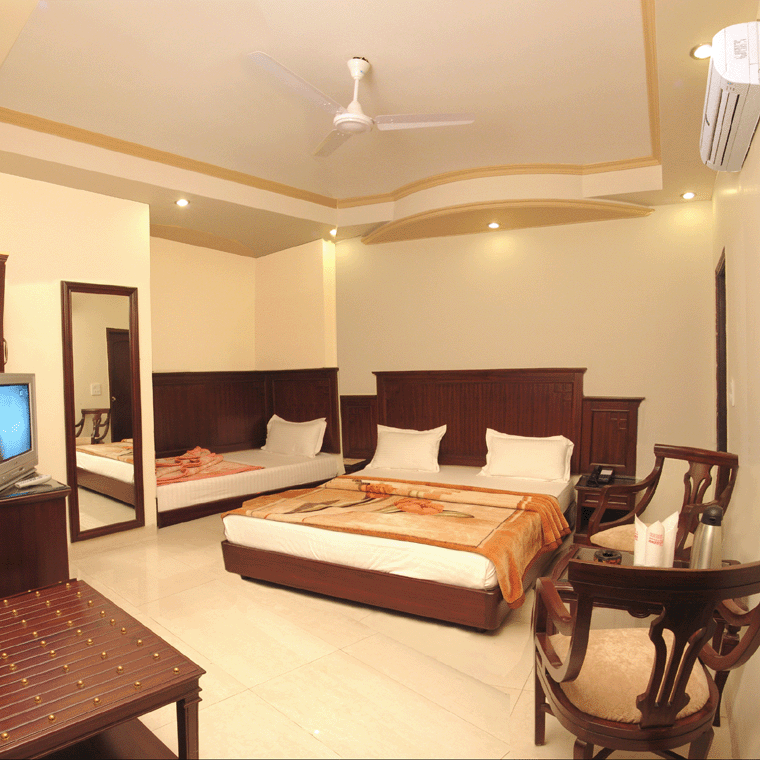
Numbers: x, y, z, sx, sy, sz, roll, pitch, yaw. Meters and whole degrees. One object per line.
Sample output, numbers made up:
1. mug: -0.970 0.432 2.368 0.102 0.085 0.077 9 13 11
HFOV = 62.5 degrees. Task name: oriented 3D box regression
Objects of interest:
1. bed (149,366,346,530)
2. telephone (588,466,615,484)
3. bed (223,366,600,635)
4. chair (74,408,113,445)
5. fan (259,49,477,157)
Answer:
1. bed: -1.462 0.521 5.907 1.849 1.217 1.038 -3 4 -43
2. telephone: 1.729 0.706 4.694 0.114 0.085 0.241 3 7 35
3. bed: 0.362 0.582 4.462 1.962 1.204 2.685 0 4 23
4. chair: -2.063 0.339 4.555 0.216 0.307 0.220 0 -4 3
5. fan: -0.178 -1.501 3.499 1.027 0.371 1.395 -2 3 -11
